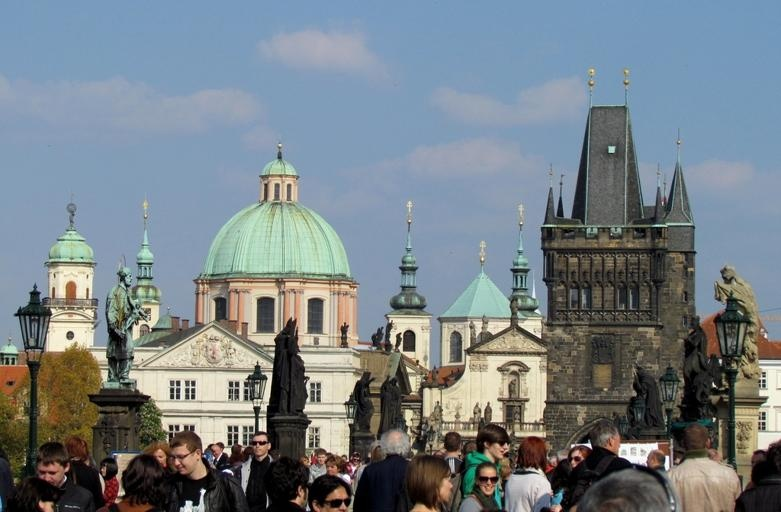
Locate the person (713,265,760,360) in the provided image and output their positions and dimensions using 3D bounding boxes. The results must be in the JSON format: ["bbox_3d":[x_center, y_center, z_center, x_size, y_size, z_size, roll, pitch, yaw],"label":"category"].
[{"bbox_3d":[10.866,1.966,72.602,1.220,3.411,1.232,2,3,8],"label":"person"}]
